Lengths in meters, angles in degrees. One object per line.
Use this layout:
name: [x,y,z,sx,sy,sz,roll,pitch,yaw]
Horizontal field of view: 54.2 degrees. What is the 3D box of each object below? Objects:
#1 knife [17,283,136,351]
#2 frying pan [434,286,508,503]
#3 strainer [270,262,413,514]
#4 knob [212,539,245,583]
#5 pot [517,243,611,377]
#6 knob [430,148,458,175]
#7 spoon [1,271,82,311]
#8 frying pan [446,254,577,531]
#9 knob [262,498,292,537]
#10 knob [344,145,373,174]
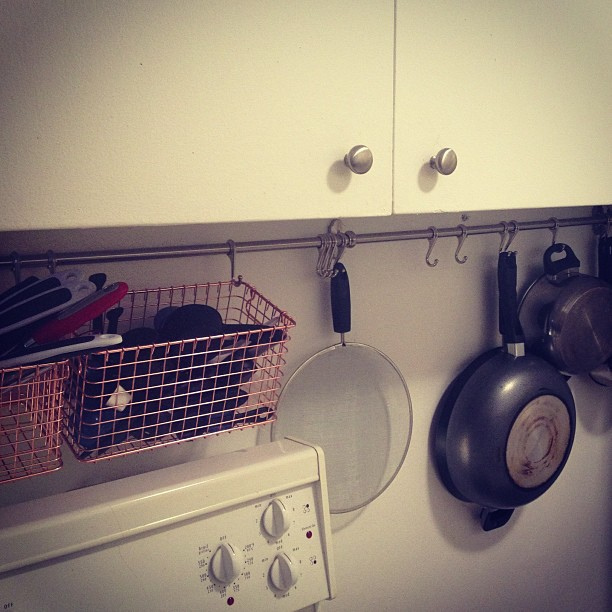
knife: [-0.276,0.014,0.705,0.106,0.019,0.016,-43,-20,-18]
frying pan: [0.326,0.199,1.242,0.046,0.396,0.203,1,3,-16]
strainer: [0.069,0.128,1.158,0.246,0.502,0.070,-1,-48,2]
knob: [-0.109,0.350,0.820,0.037,0.056,0.020,-6,-18,18]
pot: [0.562,0.014,1.350,0.210,0.323,0.098,-11,13,-29]
knob: [0.174,-0.179,0.747,0.018,0.027,0.033,50,-20,-19]
spoon: [-0.311,-0.016,0.705,0.068,0.016,0.005,-37,-30,-23]
frying pan: [0.402,0.175,1.244,0.262,0.561,0.134,5,-3,-43]
knob: [-0.043,0.306,0.861,0.040,0.052,0.016,2,-17,-6]
knob: [0.063,-0.171,0.698,0.024,0.034,0.028,11,-3,45]
